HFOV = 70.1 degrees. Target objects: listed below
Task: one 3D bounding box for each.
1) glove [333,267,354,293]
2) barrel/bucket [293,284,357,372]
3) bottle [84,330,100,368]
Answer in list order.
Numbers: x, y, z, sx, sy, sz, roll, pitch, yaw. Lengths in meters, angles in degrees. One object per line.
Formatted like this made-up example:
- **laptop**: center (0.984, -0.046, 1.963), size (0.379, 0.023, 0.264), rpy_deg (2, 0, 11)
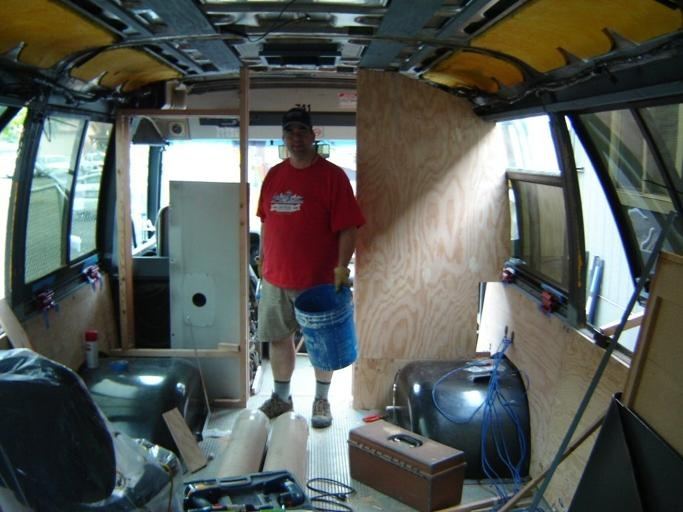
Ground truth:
- **glove**: center (0.018, 0.177, 3.770), size (0.128, 0.175, 0.062), rpy_deg (4, -1, 24)
- **barrel/bucket**: center (-0.126, 0.603, 3.780), size (0.463, 0.753, 0.482), rpy_deg (1, 2, 0)
- **bottle**: center (-2.088, 0.774, 4.059), size (0.126, 0.306, 0.068), rpy_deg (2, 2, 12)
